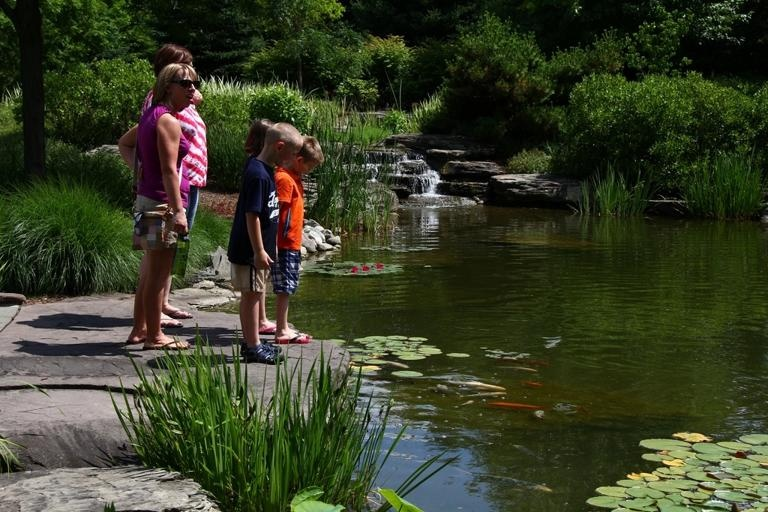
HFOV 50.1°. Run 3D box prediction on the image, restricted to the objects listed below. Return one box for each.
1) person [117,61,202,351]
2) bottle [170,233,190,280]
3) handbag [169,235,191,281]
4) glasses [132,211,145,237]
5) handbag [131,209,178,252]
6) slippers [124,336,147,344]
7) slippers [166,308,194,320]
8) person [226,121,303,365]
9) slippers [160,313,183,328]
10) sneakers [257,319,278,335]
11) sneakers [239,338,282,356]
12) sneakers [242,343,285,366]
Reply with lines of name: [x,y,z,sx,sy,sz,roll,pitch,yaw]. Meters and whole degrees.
person: [-1.725,-0.406,6.491,0.553,2.237,0.643,-3,6,-30]
bottle: [-2.384,-0.039,9.542,0.190,0.772,0.061,13,40,-5]
handbag: [-2.397,0.046,9.681,0.162,0.707,0.054,4,-31,-10]
glasses: [-1.936,-0.267,6.518,0.140,0.161,0.069,0,0,15]
handbag: [-1.857,-0.211,6.619,0.306,0.313,0.455,1,-2,-31]
slippers: [-2.038,0.666,6.701,0.164,0.058,0.081,-5,10,-32]
slippers: [-1.872,0.516,7.508,0.237,0.058,0.090,2,6,18]
person: [-0.960,-0.135,6.462,0.550,1.853,0.623,0,5,3]
slippers: [-1.939,0.558,7.266,0.287,0.108,0.101,2,8,26]
sneakers: [-1.020,0.597,7.091,0.239,0.149,0.073,-5,8,-9]
sneakers: [-0.982,0.682,6.383,0.403,0.153,0.134,1,20,-8]
sneakers: [-0.938,0.735,6.276,0.451,0.155,0.215,1,3,-4]
